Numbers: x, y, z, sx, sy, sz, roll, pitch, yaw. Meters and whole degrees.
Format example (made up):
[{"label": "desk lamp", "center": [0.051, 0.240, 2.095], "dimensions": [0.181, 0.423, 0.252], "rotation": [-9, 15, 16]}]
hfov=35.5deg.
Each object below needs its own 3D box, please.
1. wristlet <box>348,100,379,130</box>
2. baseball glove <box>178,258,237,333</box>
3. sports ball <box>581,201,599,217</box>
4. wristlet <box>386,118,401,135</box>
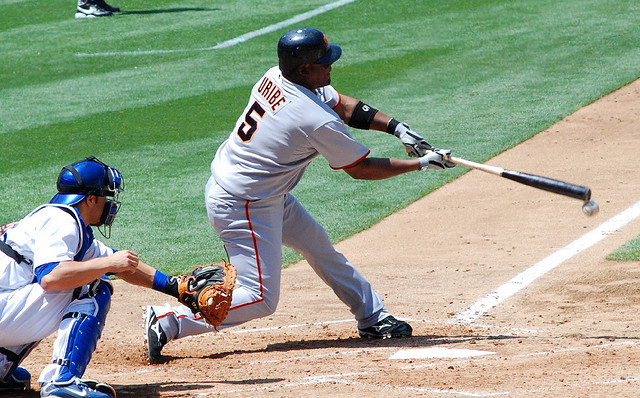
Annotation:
[{"label": "wristlet", "center": [0.465, -0.907, 10.894], "dimensions": [0.268, 0.299, 0.178], "rotation": [-20, 23, -29]}, {"label": "baseball glove", "center": [-1.097, 0.976, 10.053], "dimensions": [0.624, 0.622, 0.270], "rotation": [-11, 21, -8]}, {"label": "sports ball", "center": [2.858, 0.106, 10.688], "dimensions": [0.197, 0.156, 0.093], "rotation": [20, -16, 19]}, {"label": "wristlet", "center": [0.788, -0.787, 10.941], "dimensions": [0.178, 0.135, 0.155], "rotation": [11, -14, -9]}]
